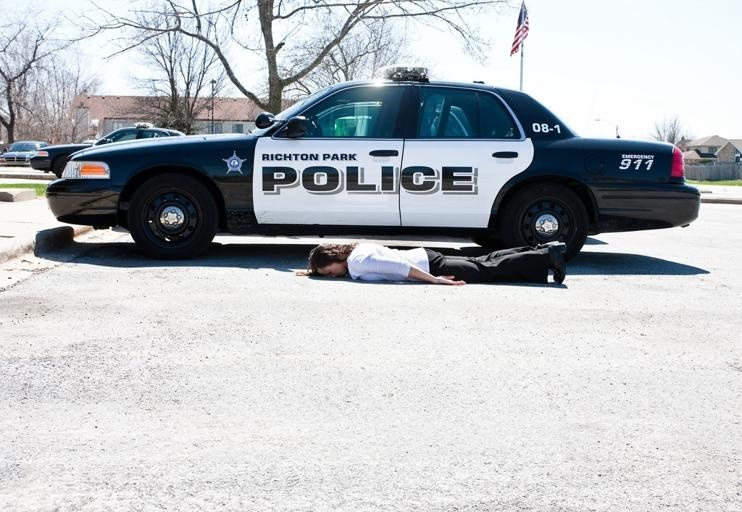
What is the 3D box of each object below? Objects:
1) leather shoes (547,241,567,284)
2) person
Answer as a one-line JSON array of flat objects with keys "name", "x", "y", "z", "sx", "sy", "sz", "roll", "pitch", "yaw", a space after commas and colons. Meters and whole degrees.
[{"name": "leather shoes", "x": 1.892, "y": 0.069, "z": 7.163, "sx": 0.187, "sy": 0.424, "sz": 0.202, "roll": 0, "pitch": 0, "yaw": 11}, {"name": "person", "x": 0.656, "y": 0.098, "z": 7.291, "sx": 2.179, "sy": 0.333, "sz": 0.839, "roll": 1, "pitch": -4, "yaw": 2}]
